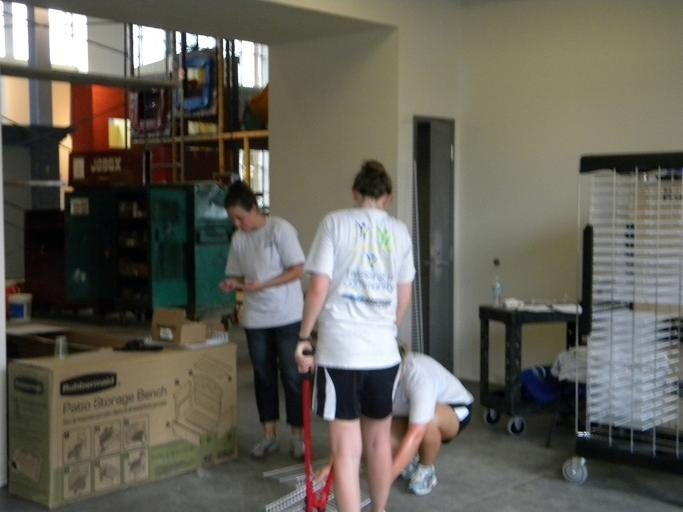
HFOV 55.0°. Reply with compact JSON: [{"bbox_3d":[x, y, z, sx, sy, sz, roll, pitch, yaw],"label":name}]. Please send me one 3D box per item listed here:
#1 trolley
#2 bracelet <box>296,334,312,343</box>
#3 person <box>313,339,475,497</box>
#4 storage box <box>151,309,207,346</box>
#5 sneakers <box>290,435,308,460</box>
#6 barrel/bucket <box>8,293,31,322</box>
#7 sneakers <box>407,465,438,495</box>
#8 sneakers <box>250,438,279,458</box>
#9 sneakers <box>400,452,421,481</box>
[{"bbox_3d":[1.570,0.918,5.467,0.708,0.995,0.546,0,-3,-22],"label":"trolley"},{"bbox_3d":[-0.216,0.471,3.696,0.085,0.050,0.054,-7,2,6],"label":"bracelet"},{"bbox_3d":[0.348,1.070,4.434,1.062,0.983,0.764,0,2,-23],"label":"person"},{"bbox_3d":[-1.174,0.441,4.801,0.339,0.256,0.251,4,0,41],"label":"storage box"},{"bbox_3d":[-0.320,1.403,4.842,0.078,0.097,0.233,-1,0,-14],"label":"sneakers"},{"bbox_3d":[-2.690,0.430,5.581,0.195,0.227,0.200,1,2,0],"label":"barrel/bucket"},{"bbox_3d":[0.518,1.479,4.337,0.100,0.123,0.250,0,-5,20],"label":"sneakers"},{"bbox_3d":[-0.574,1.420,4.921,0.103,0.086,0.192,4,7,42],"label":"sneakers"},{"bbox_3d":[0.472,1.460,4.596,0.078,0.173,0.232,6,7,18],"label":"sneakers"}]
